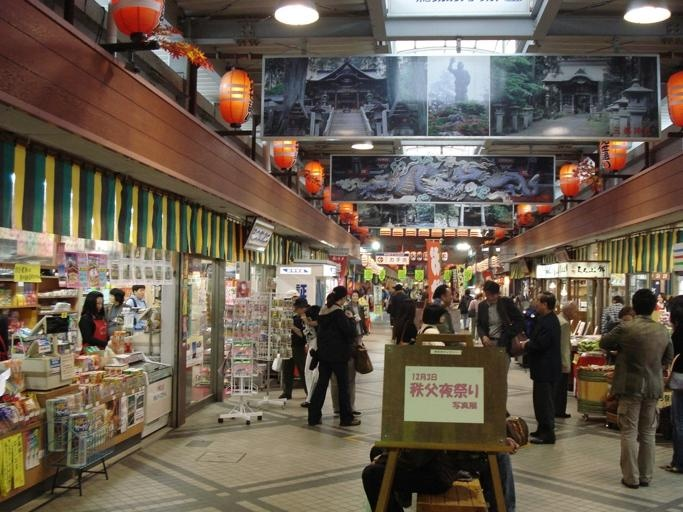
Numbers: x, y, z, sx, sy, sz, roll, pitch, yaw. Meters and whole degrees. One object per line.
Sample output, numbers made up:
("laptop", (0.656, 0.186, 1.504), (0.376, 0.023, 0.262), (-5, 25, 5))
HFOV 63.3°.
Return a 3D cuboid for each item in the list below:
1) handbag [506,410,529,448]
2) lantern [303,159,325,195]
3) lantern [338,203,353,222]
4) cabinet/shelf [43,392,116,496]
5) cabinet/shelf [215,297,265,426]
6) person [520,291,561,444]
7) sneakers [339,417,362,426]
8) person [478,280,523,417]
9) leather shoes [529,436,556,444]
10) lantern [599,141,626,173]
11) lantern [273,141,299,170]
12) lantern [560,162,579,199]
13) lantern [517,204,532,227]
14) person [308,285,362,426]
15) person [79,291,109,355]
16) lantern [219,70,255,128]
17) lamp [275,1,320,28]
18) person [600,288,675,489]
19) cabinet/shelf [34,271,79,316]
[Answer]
("handbag", (1.267, 1.280, 3.988), (0.135, 0.211, 0.372), (0, -2, 21))
("lantern", (-0.687, -2.026, 13.886), (0.455, 0.935, 1.516), (1, -2, -4))
("lantern", (0.168, -1.444, 18.884), (0.585, 0.511, 0.994), (-5, 0, 2))
("cabinet/shelf", (-2.567, 1.821, 5.345), (0.419, 0.978, 0.926), (-1, -4, 2))
("cabinet/shelf", (-1.487, 1.505, 8.340), (0.620, 1.719, 1.577), (1, -2, -8))
("person", (2.572, 1.387, 7.087), (0.454, 1.853, 0.611), (0, -2, 19))
("sneakers", (0.123, 2.260, 7.604), (0.304, 0.121, 0.118), (0, -1, -16))
("person", (2.152, 0.947, 7.508), (0.596, 1.234, 0.820), (0, -2, 13))
("leather shoes", (2.504, 2.251, 6.886), (0.295, 0.117, 0.109), (2, -5, 10))
("lantern", (5.756, -2.112, 11.616), (0.458, 0.682, 0.872), (1, -2, 6))
("lantern", (-1.156, -2.089, 11.674), (0.702, 0.850, 0.663), (0, 8, -4))
("lantern", (5.411, -1.861, 13.124), (0.394, 0.885, 1.363), (0, -2, 20))
("lantern", (6.032, -1.375, 18.170), (0.464, 0.666, 0.949), (0, -2, 16))
("person", (-0.095, 1.356, 7.530), (0.698, 1.889, 0.353), (1, -2, 0))
("person", (-3.287, 0.834, 7.332), (0.345, 0.720, 0.465), (1, -2, -21))
("lantern", (-1.489, -2.252, 7.795), (0.425, 0.771, 0.353), (1, -2, -9))
("lamp", (-0.450, -2.544, 5.796), (0.378, 0.162, 0.346), (0, -2, 30))
("person", (2.935, 1.291, 5.498), (0.605, 1.933, 0.386), (2, -2, -24))
("cabinet/shelf", (-4.367, 0.560, 8.378), (0.888, 0.741, 0.287), (3, -7, -43))
